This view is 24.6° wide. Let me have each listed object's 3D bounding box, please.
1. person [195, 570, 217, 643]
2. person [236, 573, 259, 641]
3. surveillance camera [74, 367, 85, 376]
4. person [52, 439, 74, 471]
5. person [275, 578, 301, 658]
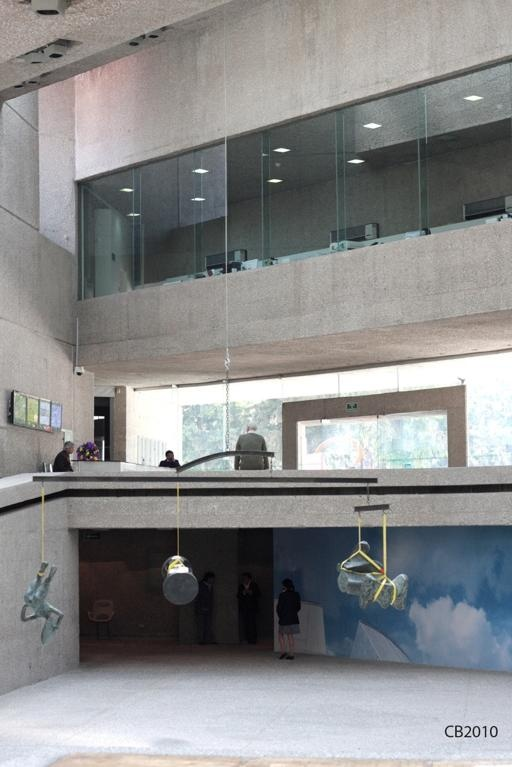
[{"bbox_3d":[-0.910,4.035,21.016,0.341,1.256,0.738,-1,-4,-2],"label":"person"},{"bbox_3d":[-0.136,4.042,21.075,0.382,1.247,0.537,-1,-4,-1],"label":"person"},{"bbox_3d":[-3.138,-0.200,20.838,0.144,0.155,0.182,5,-6,-21],"label":"surveillance camera"},{"bbox_3d":[-2.953,1.131,17.906,0.301,0.472,0.984,0,-5,-10],"label":"person"},{"bbox_3d":[0.503,3.641,18.156,0.346,1.252,1.228,-1,-4,2],"label":"person"}]
